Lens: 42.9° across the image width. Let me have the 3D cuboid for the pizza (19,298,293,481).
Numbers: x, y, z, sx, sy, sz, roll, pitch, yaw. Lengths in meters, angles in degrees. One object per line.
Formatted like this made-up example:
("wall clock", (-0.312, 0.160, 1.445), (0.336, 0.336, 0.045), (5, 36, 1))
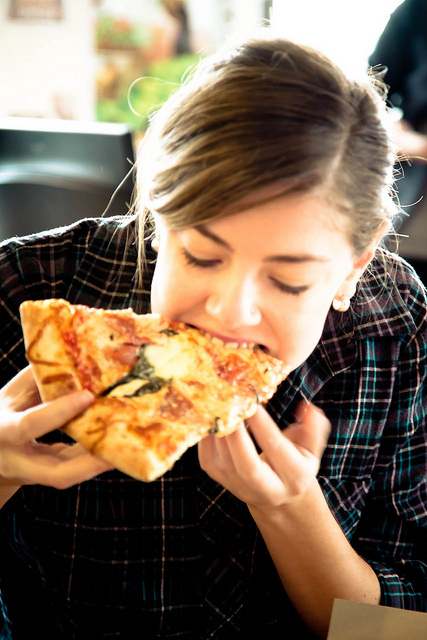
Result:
("pizza", (-0.099, 0.053, 0.888), (0.352, 0.154, 0.353), (31, 48, 25))
